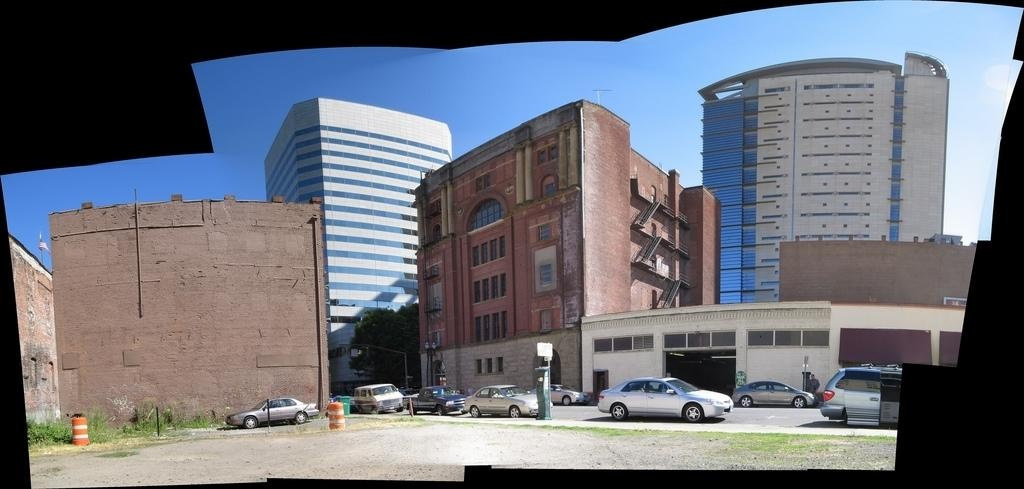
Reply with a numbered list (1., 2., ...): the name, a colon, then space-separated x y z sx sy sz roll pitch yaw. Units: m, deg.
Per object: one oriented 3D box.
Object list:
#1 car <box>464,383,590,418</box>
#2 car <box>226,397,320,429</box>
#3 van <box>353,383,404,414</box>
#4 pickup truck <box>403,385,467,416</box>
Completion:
1. car: -0.273 13.484 101.436 7.793 1.714 4.296 -11 -14 33
2. car: -19.730 14.080 99.007 7.562 1.604 2.681 3 -8 -19
3. van: -11.605 13.733 104.742 4.066 1.516 2.719 -12 -13 39
4. pickup truck: -6.688 13.953 105.458 4.915 2.516 1.385 -6 -12 22
